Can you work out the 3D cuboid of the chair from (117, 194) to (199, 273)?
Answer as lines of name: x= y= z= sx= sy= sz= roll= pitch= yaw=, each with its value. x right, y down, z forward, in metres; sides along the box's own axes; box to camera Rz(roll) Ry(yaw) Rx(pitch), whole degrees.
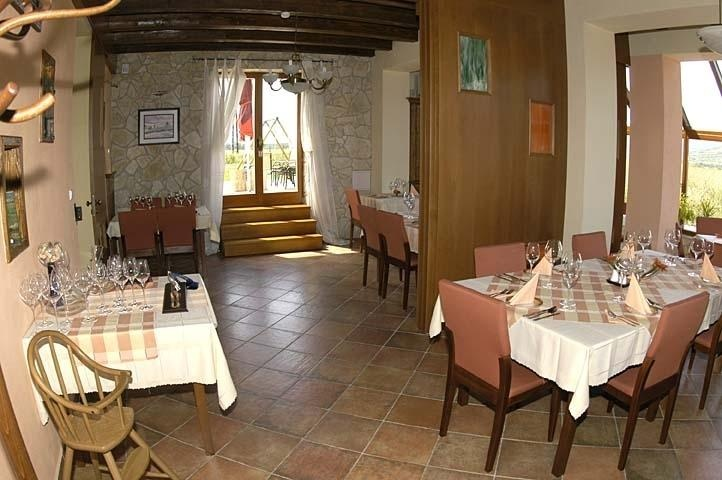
chair: x=-2.814 y=-0.089 z=6.836 sx=0.892 sy=1.313 sz=0.871 roll=-4 pitch=18 yaw=-19

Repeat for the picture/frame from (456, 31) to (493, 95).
picture/frame: x=1.231 y=-1.972 z=5.401 sx=0.666 sy=0.802 sz=0.048 roll=-3 pitch=4 yaw=-39

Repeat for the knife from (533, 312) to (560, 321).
knife: x=1.395 y=0.573 z=3.718 sx=0.208 sy=0.033 sz=0.063 roll=-10 pitch=26 yaw=-24

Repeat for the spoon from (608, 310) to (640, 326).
spoon: x=1.969 y=0.582 z=3.687 sx=0.220 sy=0.055 sz=0.176 roll=2 pitch=12 yaw=30

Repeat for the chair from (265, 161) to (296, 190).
chair: x=-1.697 y=-1.363 z=10.029 sx=0.612 sy=0.656 sz=0.499 roll=-5 pitch=11 yaw=-33

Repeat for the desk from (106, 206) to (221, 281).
desk: x=-2.938 y=-0.038 z=7.139 sx=1.111 sy=1.175 sz=0.858 roll=-6 pitch=18 yaw=-20

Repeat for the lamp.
lamp: x=-1.099 y=-3.156 z=8.029 sx=0.938 sy=1.452 sz=0.956 roll=-3 pitch=11 yaw=-6

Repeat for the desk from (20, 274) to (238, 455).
desk: x=-2.019 y=1.182 z=4.004 sx=1.360 sy=0.705 sz=1.378 roll=2 pitch=-18 yaw=-25

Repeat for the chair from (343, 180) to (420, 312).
chair: x=0.309 y=0.108 z=7.139 sx=0.596 sy=1.011 sz=1.795 roll=-5 pitch=19 yaw=-21

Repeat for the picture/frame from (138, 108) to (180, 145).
picture/frame: x=-3.643 y=-2.054 z=8.743 sx=0.604 sy=0.649 sz=0.059 roll=-2 pitch=10 yaw=-25

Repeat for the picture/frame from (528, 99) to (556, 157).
picture/frame: x=2.184 y=-1.395 z=5.965 sx=0.603 sy=0.782 sz=0.071 roll=-6 pitch=9 yaw=-35
